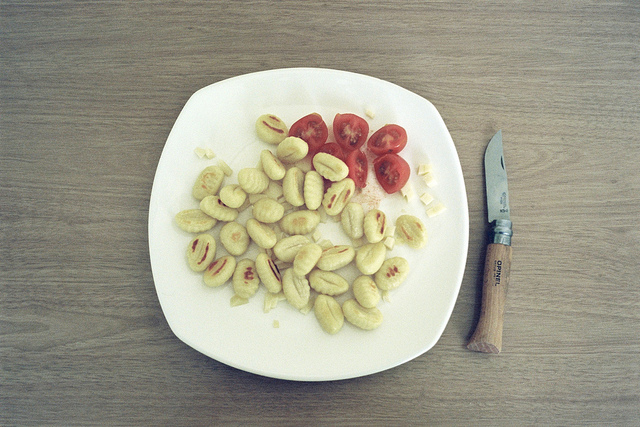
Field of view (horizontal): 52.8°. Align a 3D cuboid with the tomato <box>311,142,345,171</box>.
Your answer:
[{"bbox_3d":[0.072,-0.316,3.372,0.053,0.142,0.124,3,79,45],"label":"tomato"}]

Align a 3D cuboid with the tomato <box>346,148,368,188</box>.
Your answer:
[{"bbox_3d":[0.199,-0.239,3.349,0.076,0.163,0.175,-2,88,36],"label":"tomato"}]

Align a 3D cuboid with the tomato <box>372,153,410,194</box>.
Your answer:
[{"bbox_3d":[0.377,-0.218,3.352,0.166,0.095,0.203,-18,85,-2],"label":"tomato"}]

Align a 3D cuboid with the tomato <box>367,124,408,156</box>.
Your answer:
[{"bbox_3d":[0.348,-0.380,3.369,0.196,0.081,0.149,-2,84,-1],"label":"tomato"}]
